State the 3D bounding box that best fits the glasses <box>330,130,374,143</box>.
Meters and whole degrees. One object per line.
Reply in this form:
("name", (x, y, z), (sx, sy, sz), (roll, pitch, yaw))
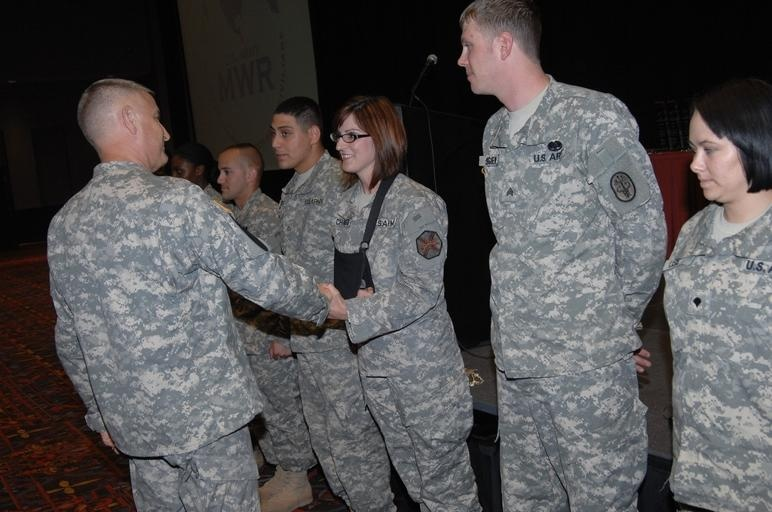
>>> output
("glasses", (-0.179, -0.552, 3.024), (0.095, 0.025, 0.097), (0, 1, 42))
